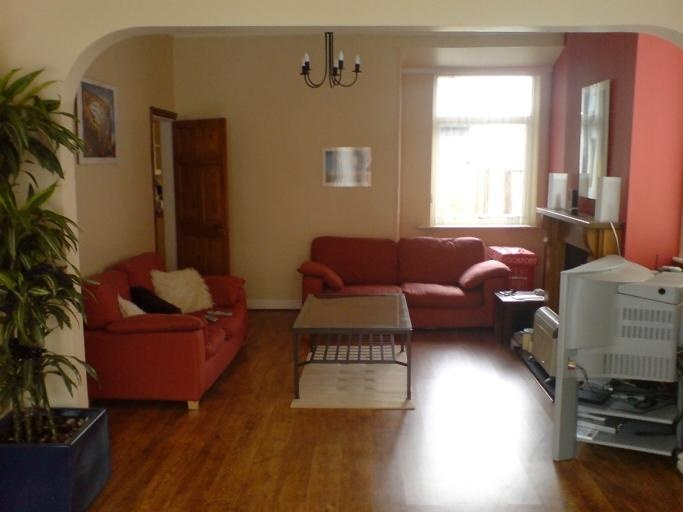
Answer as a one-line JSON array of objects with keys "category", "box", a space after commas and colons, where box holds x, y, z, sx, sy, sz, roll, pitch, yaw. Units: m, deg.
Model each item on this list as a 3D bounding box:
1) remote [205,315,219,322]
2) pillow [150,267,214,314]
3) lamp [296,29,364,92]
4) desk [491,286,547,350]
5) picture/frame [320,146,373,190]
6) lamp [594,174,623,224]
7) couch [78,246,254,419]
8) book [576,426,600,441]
[{"category": "remote", "box": [-1.274, 0.597, 5.402, 0.103, 0.015, 0.056, 8, 13, 16]}, {"category": "pillow", "box": [-1.632, 0.335, 5.714, 0.632, 0.181, 0.603, 26, 45, 35]}, {"category": "lamp", "box": [-0.128, -2.394, 6.793, 0.753, 0.723, 0.705, 4, 15, 20]}, {"category": "desk", "box": [1.984, 0.660, 6.248, 0.516, 0.518, 0.504, -1, 13, -4]}, {"category": "picture/frame", "box": [0.061, -1.171, 7.264, 0.482, 0.435, 0.042, 0, 3, -1]}, {"category": "lamp", "box": [2.494, -0.529, 5.207, 0.222, 0.411, 0.177, 4, 14, 16]}, {"category": "couch", "box": [-1.656, 0.631, 5.577, 1.080, 1.128, 1.971, 0, 8, 3]}, {"category": "book", "box": [1.759, 1.276, 4.017, 0.102, 0.028, 0.115, -3, 10, 11]}]
